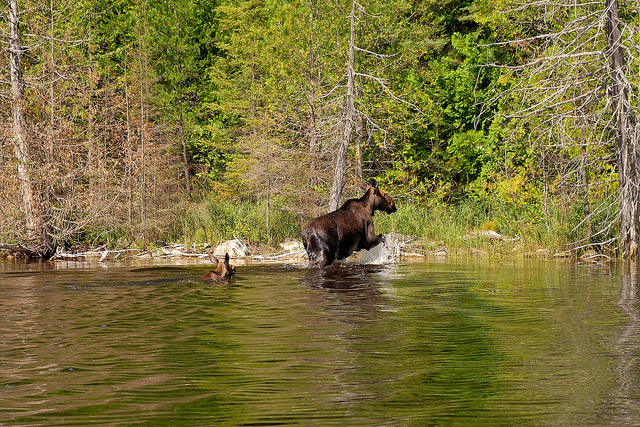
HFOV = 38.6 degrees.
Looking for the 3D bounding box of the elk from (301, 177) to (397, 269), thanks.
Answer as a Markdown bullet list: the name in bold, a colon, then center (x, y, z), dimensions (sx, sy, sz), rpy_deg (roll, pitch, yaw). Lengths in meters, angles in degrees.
- **elk**: center (1.026, 0.598, 31.786), dimensions (1.359, 2.459, 4.780), rpy_deg (-1, 16, 46)
